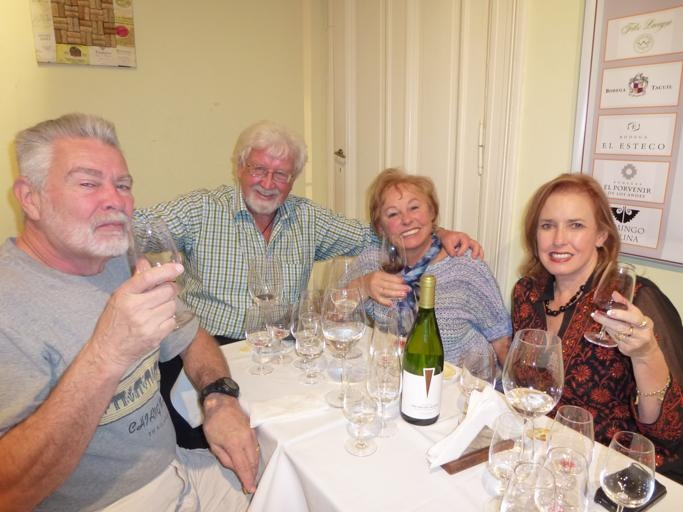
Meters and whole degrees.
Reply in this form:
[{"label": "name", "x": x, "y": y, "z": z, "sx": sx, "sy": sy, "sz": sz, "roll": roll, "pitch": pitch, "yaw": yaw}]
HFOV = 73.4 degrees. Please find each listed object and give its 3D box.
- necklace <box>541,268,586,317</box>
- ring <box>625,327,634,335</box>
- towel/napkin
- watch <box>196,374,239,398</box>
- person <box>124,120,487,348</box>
[{"label": "necklace", "x": 0.913, "y": 0.163, "z": 1.880, "sx": 0.027, "sy": 0.155, "sz": 0.119, "roll": 15, "pitch": 13, "yaw": -33}, {"label": "ring", "x": 0.874, "y": 0.228, "z": 1.379, "sx": 0.019, "sy": 0.024, "sz": 0.022, "roll": 27, "pitch": -7, "yaw": -31}, {"label": "towel/napkin", "x": 0.343, "y": 0.456, "z": 1.304, "sx": 0.301, "sy": 0.132, "sz": 0.109, "roll": -23, "pitch": 25, "yaw": -34}, {"label": "watch", "x": -0.411, "y": 0.439, "z": 1.518, "sx": 0.106, "sy": 0.105, "sz": 0.066, "roll": 19, "pitch": 37, "yaw": -53}, {"label": "person", "x": -0.174, "y": -0.134, "z": 2.278, "sx": 1.291, "sy": 0.759, "sz": 0.370, "roll": -5, "pitch": 8, "yaw": -35}]
